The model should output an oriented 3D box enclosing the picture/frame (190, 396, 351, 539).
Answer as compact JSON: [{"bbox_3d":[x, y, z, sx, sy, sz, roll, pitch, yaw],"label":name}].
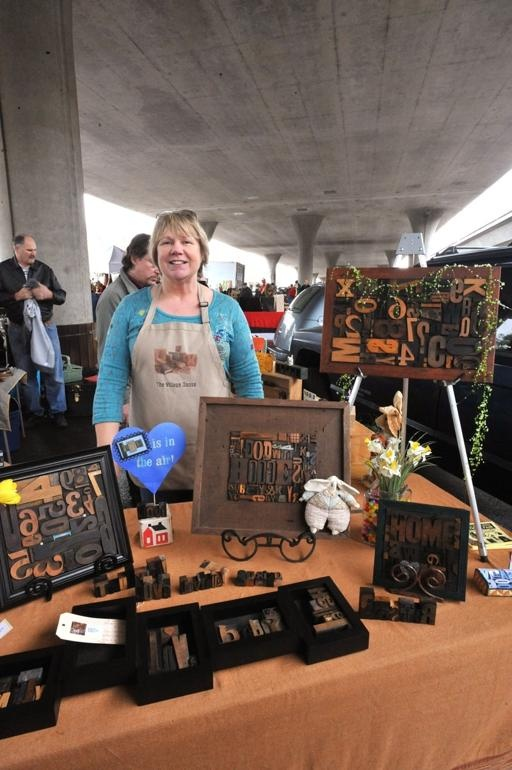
[{"bbox_3d":[0.050,0.254,1.498,0.466,0.397,0.043,2,-14,0],"label":"picture/frame"}]

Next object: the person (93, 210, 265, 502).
[{"bbox_3d":[-0.298,0.037,1.953,0.641,1.302,0.483,-7,27,-16],"label":"person"}]

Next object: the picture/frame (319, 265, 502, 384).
[{"bbox_3d":[0.555,-0.229,1.809,0.523,0.339,0.028,2,3,12],"label":"picture/frame"}]

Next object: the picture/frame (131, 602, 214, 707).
[{"bbox_3d":[-0.185,0.580,1.102,0.154,0.059,0.229,-2,12,-13],"label":"picture/frame"}]

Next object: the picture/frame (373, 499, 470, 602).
[{"bbox_3d":[0.439,0.449,1.339,0.259,0.259,0.031,3,-9,16],"label":"picture/frame"}]

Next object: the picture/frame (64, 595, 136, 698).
[{"bbox_3d":[-0.327,0.537,1.051,0.116,0.039,0.167,0,9,-12],"label":"picture/frame"}]
